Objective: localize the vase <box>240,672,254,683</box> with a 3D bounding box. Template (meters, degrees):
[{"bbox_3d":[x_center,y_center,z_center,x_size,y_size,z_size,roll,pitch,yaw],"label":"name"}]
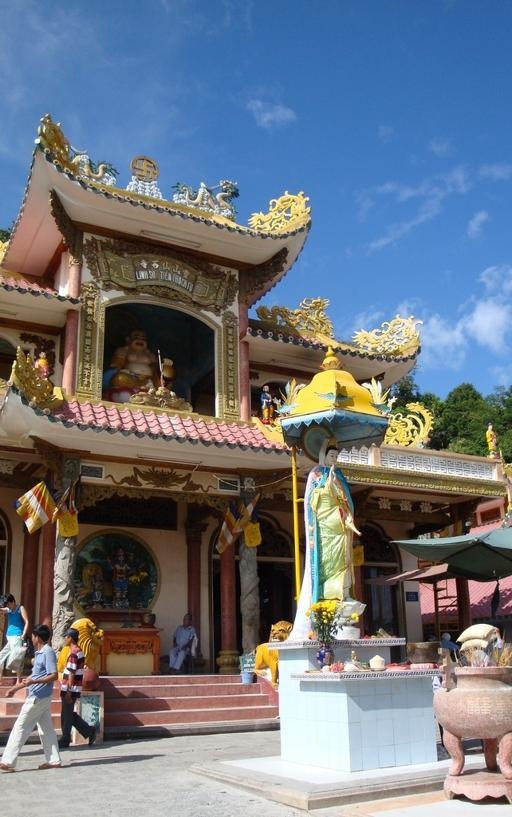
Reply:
[{"bbox_3d":[-0.154,4.177,11.571,0.170,0.118,0.165,17,-27,-36],"label":"vase"}]

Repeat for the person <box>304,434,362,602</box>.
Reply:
[{"bbox_3d":[0.734,1.247,7.592,0.518,1.361,0.411,-7,-11,4],"label":"person"}]

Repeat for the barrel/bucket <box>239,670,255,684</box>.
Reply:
[{"bbox_3d":[-0.156,4.171,11.570,0.180,0.125,0.180,-1,-20,0],"label":"barrel/bucket"}]

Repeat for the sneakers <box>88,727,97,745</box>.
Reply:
[{"bbox_3d":[-1.828,3.633,8.317,0.078,0.223,0.092,7,-3,-7],"label":"sneakers"}]

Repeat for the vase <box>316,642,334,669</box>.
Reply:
[{"bbox_3d":[0.616,2.208,6.655,0.166,0.226,0.476,-7,-11,3],"label":"vase"}]

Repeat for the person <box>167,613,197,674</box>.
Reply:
[{"bbox_3d":[-1.327,4.175,13.289,0.580,0.990,0.494,-2,-12,-21],"label":"person"}]

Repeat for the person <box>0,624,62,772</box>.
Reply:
[{"bbox_3d":[-2.036,2.602,6.683,0.511,1.217,0.649,-4,-11,-14],"label":"person"}]

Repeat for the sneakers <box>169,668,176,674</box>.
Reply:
[{"bbox_3d":[-1.451,4.535,12.943,0.125,0.098,0.320,-5,-11,-8],"label":"sneakers"}]

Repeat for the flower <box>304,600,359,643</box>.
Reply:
[{"bbox_3d":[0.746,1.957,6.949,0.511,0.409,0.459,2,-13,-8],"label":"flower"}]

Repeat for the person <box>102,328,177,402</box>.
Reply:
[{"bbox_3d":[-2.359,-0.638,14.974,1.433,2.161,0.703,8,-33,-22],"label":"person"}]
